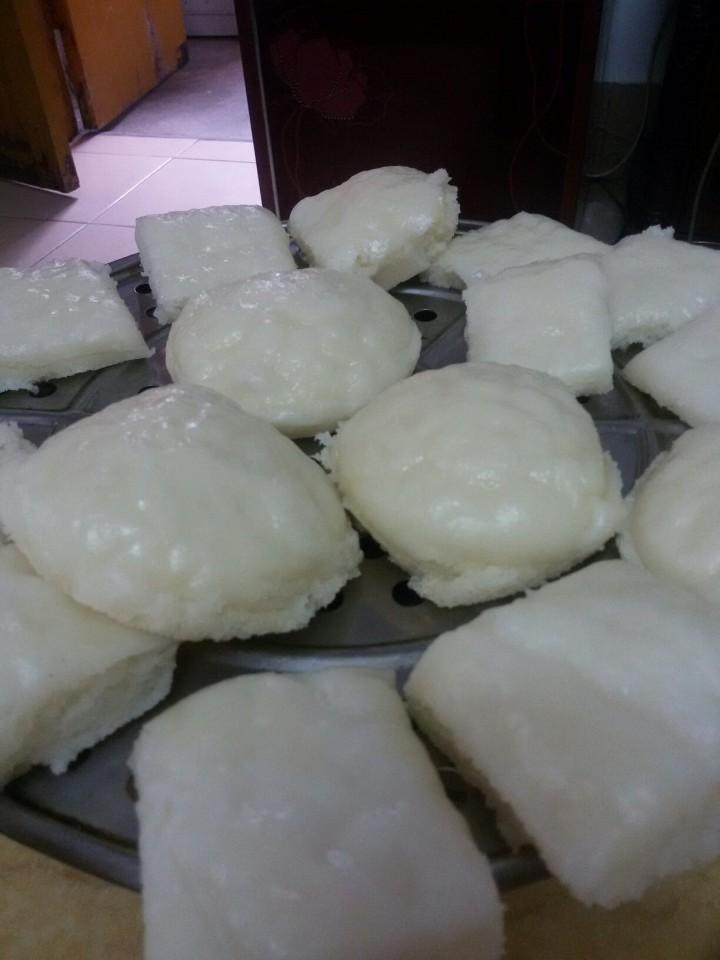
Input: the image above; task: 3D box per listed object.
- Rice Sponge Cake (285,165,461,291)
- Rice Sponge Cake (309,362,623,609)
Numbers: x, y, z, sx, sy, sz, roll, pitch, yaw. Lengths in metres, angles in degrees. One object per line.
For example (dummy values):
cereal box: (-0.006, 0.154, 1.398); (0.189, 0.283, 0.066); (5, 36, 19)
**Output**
Rice Sponge Cake: (0.026, -0.339, 1.036); (0.202, 0.056, 0.186); (-29, 53, -18)
Rice Sponge Cake: (0.083, -0.003, 0.699); (0.240, 0.068, 0.216); (35, 67, 25)
